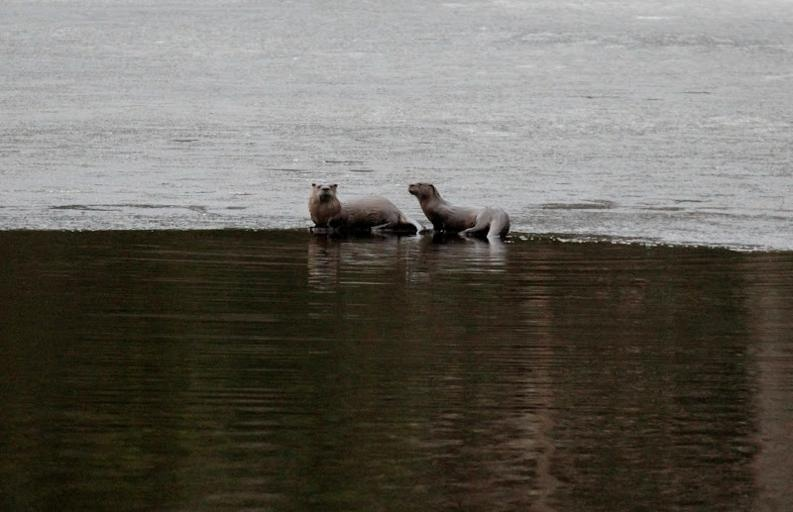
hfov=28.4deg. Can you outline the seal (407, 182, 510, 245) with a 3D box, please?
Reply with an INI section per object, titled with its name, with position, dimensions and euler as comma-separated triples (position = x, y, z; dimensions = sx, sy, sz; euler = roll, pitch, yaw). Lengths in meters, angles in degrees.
[seal]
position = 1.806, -1.190, 45.169
dimensions = 4.176, 1.609, 1.232
euler = 14, 24, 24
